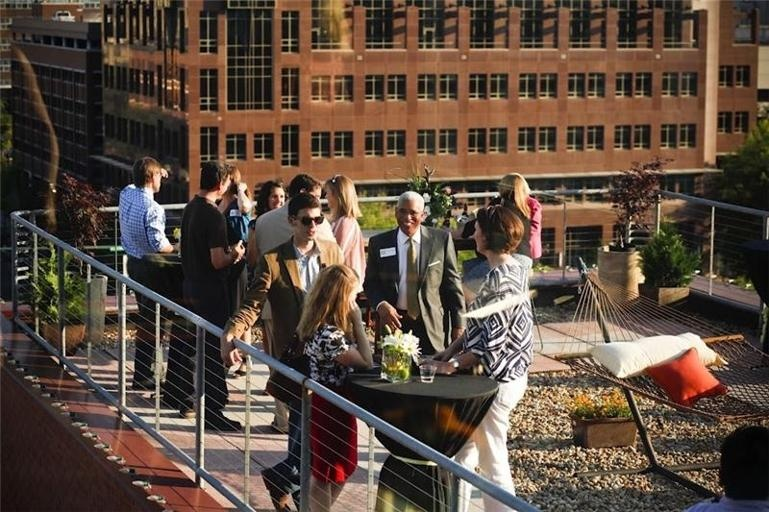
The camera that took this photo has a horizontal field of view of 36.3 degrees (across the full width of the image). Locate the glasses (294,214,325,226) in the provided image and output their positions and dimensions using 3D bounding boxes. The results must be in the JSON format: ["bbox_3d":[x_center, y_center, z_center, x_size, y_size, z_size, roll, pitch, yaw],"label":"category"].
[{"bbox_3d":[-0.588,-0.280,9.225,0.237,0.087,0.124,0,7,-11],"label":"glasses"}]

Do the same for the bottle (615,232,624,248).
[{"bbox_3d":[2.615,-0.165,13.080,0.079,0.159,0.110,2,20,-19],"label":"bottle"}]

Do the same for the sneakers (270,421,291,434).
[{"bbox_3d":[-0.872,1.455,9.960,0.095,0.109,0.265,0,1,-33],"label":"sneakers"}]

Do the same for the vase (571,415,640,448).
[{"bbox_3d":[1.943,1.541,10.255,0.418,0.203,0.280,1,-1,-13],"label":"vase"}]

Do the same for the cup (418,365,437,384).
[{"bbox_3d":[0.316,0.870,8.568,0.120,0.105,0.115,-2,0,0],"label":"cup"}]

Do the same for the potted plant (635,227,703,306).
[{"bbox_3d":[3.027,0.140,12.859,0.660,1.024,0.807,6,8,36],"label":"potted plant"}]

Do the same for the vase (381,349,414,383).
[{"bbox_3d":[0.069,0.772,8.683,0.204,0.288,0.284,5,0,-30],"label":"vase"}]

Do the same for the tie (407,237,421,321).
[{"bbox_3d":[0.247,0.198,9.843,0.124,0.675,0.054,2,7,2],"label":"tie"}]

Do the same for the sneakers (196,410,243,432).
[{"bbox_3d":[-1.401,1.406,9.972,0.381,0.246,0.139,0,7,-10],"label":"sneakers"}]

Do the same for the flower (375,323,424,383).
[{"bbox_3d":[0.122,0.713,8.746,0.361,0.384,0.324,1,0,-33],"label":"flower"}]
